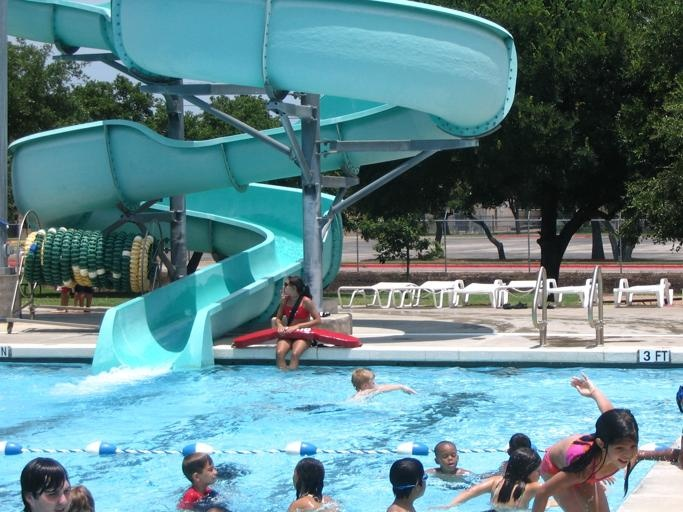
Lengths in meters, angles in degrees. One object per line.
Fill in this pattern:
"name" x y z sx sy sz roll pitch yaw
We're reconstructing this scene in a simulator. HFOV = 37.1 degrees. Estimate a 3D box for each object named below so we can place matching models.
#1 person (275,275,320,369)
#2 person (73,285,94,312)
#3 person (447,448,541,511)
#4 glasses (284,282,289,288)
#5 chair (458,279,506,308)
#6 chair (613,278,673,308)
"person" -0.704 1.052 16.377 0.679 1.473 0.475 0 -1 -6
"person" -5.590 0.861 22.277 0.364 0.434 1.295 0 -1 -15
"person" 1.828 2.434 11.229 0.445 0.744 1.026 0 -1 -26
"glasses" -0.870 0.455 16.383 0.054 0.075 0.074 2 42 2
"chair" 3.360 0.868 24.418 1.073 0.612 3.529 0 -1 7
"chair" 6.999 0.811 23.298 0.928 0.604 0.982 -4 -6 45
